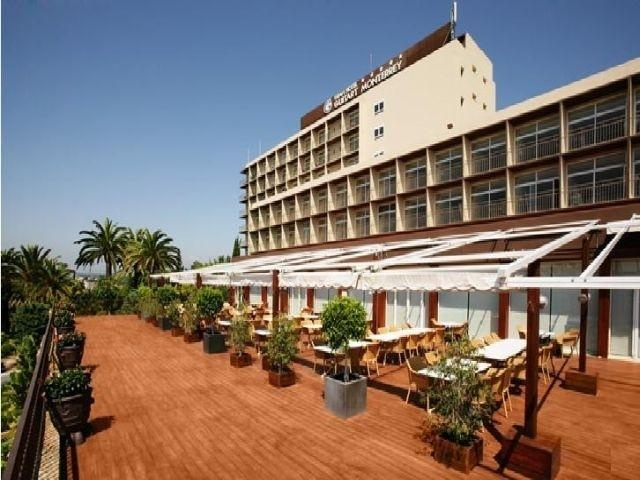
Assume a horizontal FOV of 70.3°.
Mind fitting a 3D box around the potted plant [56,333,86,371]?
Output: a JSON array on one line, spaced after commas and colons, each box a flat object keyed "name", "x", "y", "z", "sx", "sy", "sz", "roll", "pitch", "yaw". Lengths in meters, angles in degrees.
[{"name": "potted plant", "x": -9.908, "y": 4.495, "z": 18.051, "sx": 1.067, "sy": 1.661, "sz": 1.140, "roll": -2, "pitch": -12, "yaw": -3}]

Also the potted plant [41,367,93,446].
[{"name": "potted plant", "x": -7.259, "y": 4.999, "z": 13.167, "sx": 1.368, "sy": 1.771, "sz": 1.520, "roll": -6, "pitch": 4, "yaw": -4}]

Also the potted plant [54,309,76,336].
[{"name": "potted plant", "x": -13.210, "y": 4.304, "z": 23.447, "sx": 1.127, "sy": 1.397, "sz": 1.191, "roll": -3, "pitch": -6, "yaw": 33}]

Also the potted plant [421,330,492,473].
[{"name": "potted plant", "x": 3.702, "y": 4.469, "z": 12.378, "sx": 1.768, "sy": 3.170, "sz": 1.586, "roll": -3, "pitch": 10, "yaw": 40}]
